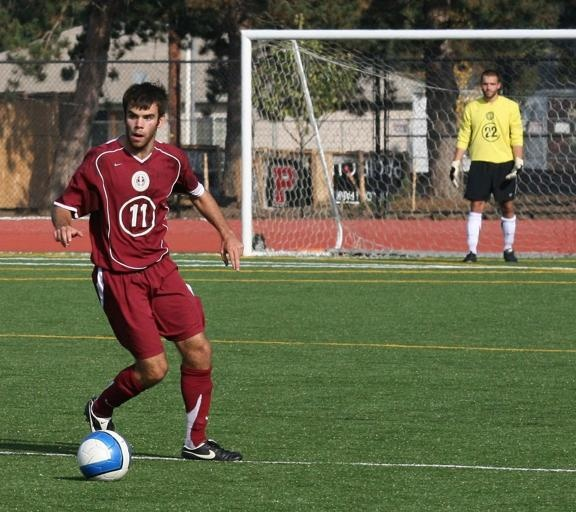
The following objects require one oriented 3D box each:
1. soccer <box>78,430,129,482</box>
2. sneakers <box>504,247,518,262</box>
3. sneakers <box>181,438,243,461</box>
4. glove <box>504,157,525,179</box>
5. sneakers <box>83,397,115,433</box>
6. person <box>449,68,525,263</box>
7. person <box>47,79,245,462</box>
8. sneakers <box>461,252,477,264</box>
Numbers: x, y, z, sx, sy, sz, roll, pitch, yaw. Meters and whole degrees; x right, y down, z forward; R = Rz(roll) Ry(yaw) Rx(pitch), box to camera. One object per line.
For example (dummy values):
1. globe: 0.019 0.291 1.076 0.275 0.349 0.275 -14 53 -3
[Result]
1. soccer: -1.114 1.160 8.257 0.269 0.306 0.277 -7 20 -7
2. sneakers: 2.378 -0.015 14.846 0.166 0.162 0.114 1 6 13
3. sneakers: -0.464 1.189 8.480 0.391 0.149 0.139 0 -5 1
4. glove: 2.359 -0.932 14.290 0.165 0.226 0.455 4 13 19
5. sneakers: -1.188 1.018 8.519 0.126 0.297 0.100 -18 1 22
6. person: 2.049 -0.881 14.328 0.721 2.071 0.493 1 12 9
7. person: -0.865 0.209 8.494 1.131 1.993 0.687 -1 12 -2
8. sneakers: 1.931 0.014 14.771 0.136 0.133 0.087 -1 -1 26
